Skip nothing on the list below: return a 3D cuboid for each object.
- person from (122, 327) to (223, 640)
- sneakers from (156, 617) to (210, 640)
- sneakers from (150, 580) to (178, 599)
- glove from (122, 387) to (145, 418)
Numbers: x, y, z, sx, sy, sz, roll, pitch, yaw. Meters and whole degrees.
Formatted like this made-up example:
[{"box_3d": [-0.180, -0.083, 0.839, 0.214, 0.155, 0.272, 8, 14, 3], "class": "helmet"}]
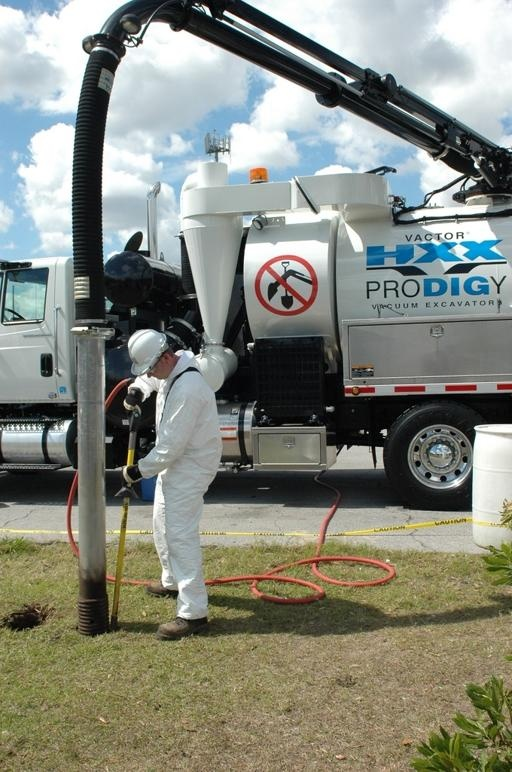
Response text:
[{"box_3d": [-0.478, 0.516, 4.167, 0.564, 1.724, 0.795, -2, 3, -6], "class": "person"}, {"box_3d": [-0.399, 1.325, 3.918, 0.270, 0.108, 0.096, 6, -4, -33], "class": "sneakers"}, {"box_3d": [-0.617, 1.332, 4.645, 0.190, 0.086, 0.081, 6, 1, 13], "class": "sneakers"}, {"box_3d": [-0.734, 0.091, 4.255, 0.112, 0.232, 0.178, 6, 1, -10], "class": "glove"}]
